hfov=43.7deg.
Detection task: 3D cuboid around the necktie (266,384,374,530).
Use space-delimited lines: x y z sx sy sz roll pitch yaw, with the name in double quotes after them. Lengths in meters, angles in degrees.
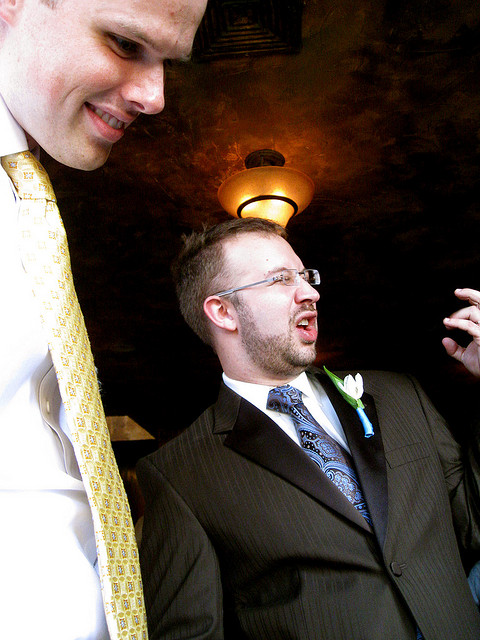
0.262 0.436 2.075 0.150 0.070 0.624 -15 37 -17 "necktie"
